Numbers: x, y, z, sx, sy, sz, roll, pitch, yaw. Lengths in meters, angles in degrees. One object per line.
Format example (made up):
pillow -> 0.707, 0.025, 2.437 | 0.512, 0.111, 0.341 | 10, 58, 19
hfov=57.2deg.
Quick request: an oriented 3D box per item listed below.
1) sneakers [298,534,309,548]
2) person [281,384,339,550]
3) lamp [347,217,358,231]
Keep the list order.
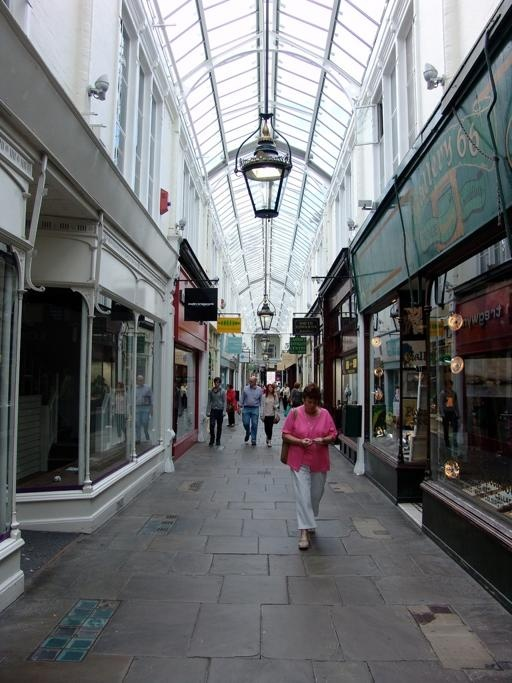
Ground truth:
sneakers -> 0.422, 1.739, 4.154 | 0.100, 0.131, 0.293 | -2, -7, 7
person -> 0.485, 1.110, 4.300 | 0.499, 1.413, 0.442 | 0, -5, -9
lamp -> 1.991, -2.421, 9.711 | 0.135, 0.268, 0.229 | 0, -25, 0
